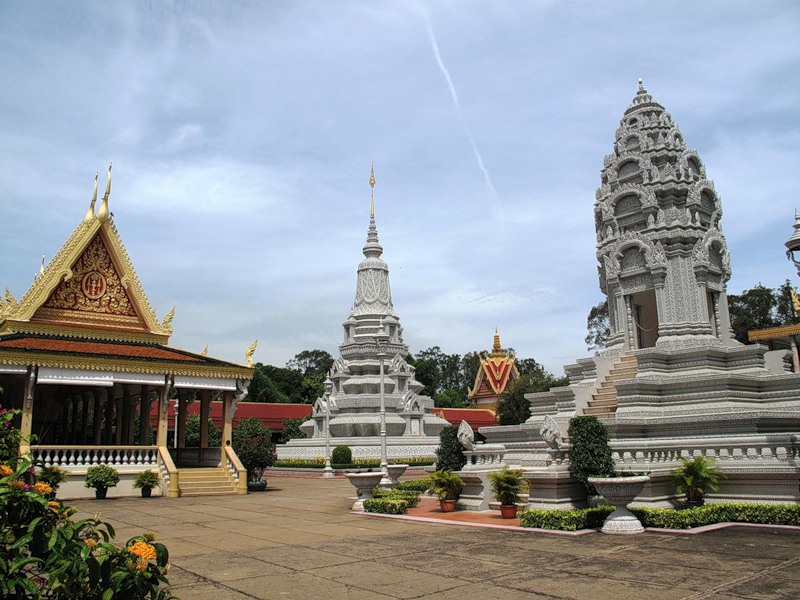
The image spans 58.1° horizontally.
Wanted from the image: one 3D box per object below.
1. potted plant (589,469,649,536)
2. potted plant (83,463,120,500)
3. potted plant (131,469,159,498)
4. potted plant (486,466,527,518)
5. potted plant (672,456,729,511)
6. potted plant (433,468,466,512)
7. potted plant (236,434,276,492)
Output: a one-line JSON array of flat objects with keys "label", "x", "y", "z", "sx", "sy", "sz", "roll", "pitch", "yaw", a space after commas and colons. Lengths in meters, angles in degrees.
[{"label": "potted plant", "x": 4.242, "y": 3.958, "z": 13.912, "sx": 1.049, "sy": 1.060, "sz": 0.654, "roll": 0, "pitch": -13, "yaw": -5}, {"label": "potted plant", "x": -8.306, "y": 5.060, "z": 20.045, "sx": 0.946, "sy": 0.932, "sz": 0.625, "roll": -3, "pitch": -13, "yaw": 9}, {"label": "potted plant", "x": -7.278, "y": 5.304, "z": 20.817, "sx": 0.575, "sy": 0.754, "sz": 0.727, "roll": -6, "pitch": -14, "yaw": 21}, {"label": "potted plant", "x": 2.425, "y": 4.509, "z": 16.585, "sx": 0.899, "sy": 0.951, "sz": 0.736, "roll": 5, "pitch": -19, "yaw": -16}, {"label": "potted plant", "x": 6.300, "y": 3.917, "z": 15.461, "sx": 1.081, "sy": 1.077, "sz": 1.059, "roll": 6, "pitch": -6, "yaw": -25}, {"label": "potted plant", "x": 1.152, "y": 4.739, "z": 17.509, "sx": 0.726, "sy": 0.749, "sz": 0.738, "roll": 13, "pitch": -20, "yaw": -41}, {"label": "potted plant", "x": -4.854, "y": 5.530, "z": 24.481, "sx": 1.184, "sy": 1.784, "sz": 1.795, "roll": 0, "pitch": -13, "yaw": -6}]
